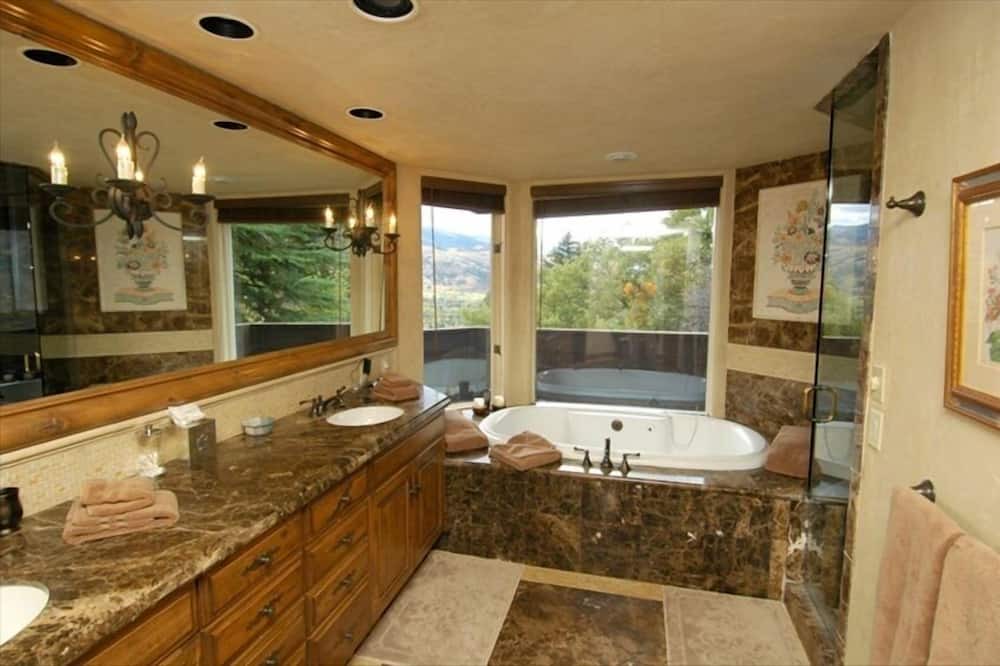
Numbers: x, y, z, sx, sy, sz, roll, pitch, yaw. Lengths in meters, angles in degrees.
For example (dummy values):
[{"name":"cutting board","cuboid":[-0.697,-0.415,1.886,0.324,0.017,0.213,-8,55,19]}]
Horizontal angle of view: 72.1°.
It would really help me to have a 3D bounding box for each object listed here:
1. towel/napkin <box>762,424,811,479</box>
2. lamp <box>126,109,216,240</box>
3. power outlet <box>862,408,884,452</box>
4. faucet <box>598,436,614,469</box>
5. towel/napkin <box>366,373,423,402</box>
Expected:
[{"name":"towel/napkin","cuboid":[1.722,0.720,4.141,0.237,0.227,0.396,2,3,20]},{"name":"lamp","cuboid":[-1.421,-0.685,3.067,0.213,0.548,0.399,3,4,26]},{"name":"power outlet","cuboid":[1.598,0.411,2.932,0.031,0.211,0.216,5,2,21]},{"name":"faucet","cuboid":[0.641,0.714,4.141,0.069,0.166,0.224,1,3,9]},{"name":"towel/napkin","cuboid":[-0.600,0.336,4.127,0.209,0.064,0.210,-2,9,-33]}]
